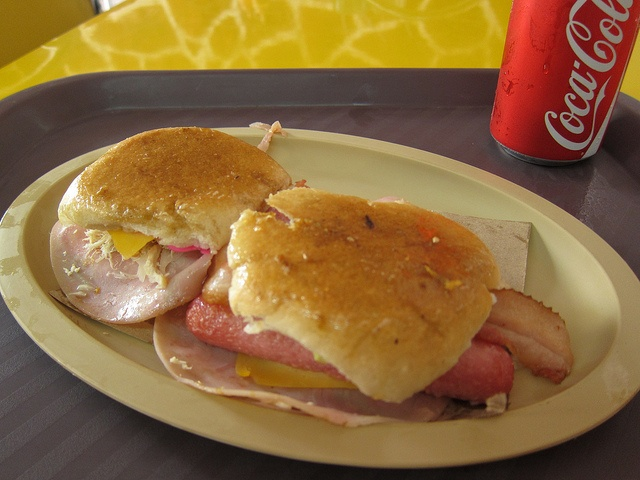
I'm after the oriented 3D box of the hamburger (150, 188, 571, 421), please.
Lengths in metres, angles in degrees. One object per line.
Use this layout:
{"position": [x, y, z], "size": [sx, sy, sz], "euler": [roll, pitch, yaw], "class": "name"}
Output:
{"position": [0.062, 0.146, 0.898], "size": [0.510, 0.154, 0.403], "euler": [18, 46, 9], "class": "hamburger"}
